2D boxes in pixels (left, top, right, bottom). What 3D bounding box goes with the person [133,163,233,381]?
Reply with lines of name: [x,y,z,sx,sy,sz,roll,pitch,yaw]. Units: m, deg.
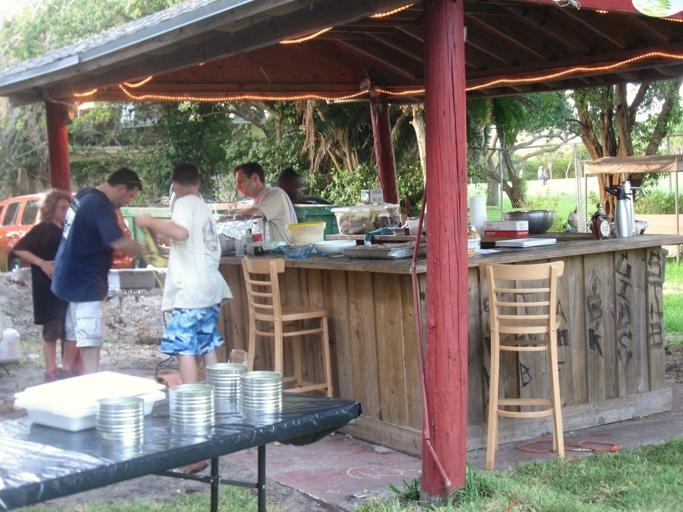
person: [-1.354,0.172,7.044,0.738,2.001,0.481,-4,6,-20]

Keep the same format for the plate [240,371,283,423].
plate: [-0.457,0.815,4.516,0.236,0.198,0.219,2,-1,-25]

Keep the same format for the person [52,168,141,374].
person: [-2.302,0.167,7.502,1.017,1.988,0.816,-1,6,3]

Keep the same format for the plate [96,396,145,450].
plate: [-1.186,0.882,4.169,0.208,0.268,0.229,0,-2,5]

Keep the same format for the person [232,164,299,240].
person: [-0.860,-0.612,8.851,0.768,0.893,0.608,3,8,39]

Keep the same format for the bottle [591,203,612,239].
bottle: [2.564,-0.349,7.694,0.185,0.334,0.319,0,7,20]

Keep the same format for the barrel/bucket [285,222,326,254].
barrel/bucket: [-0.351,-0.202,8.094,0.289,0.266,0.328,-2,-4,-19]

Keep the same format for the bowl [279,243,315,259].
bowl: [-0.457,-0.039,7.857,0.176,0.096,0.231,1,-4,-43]

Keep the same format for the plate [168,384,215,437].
plate: [-0.827,0.849,4.335,0.237,0.272,0.228,2,-3,-39]
